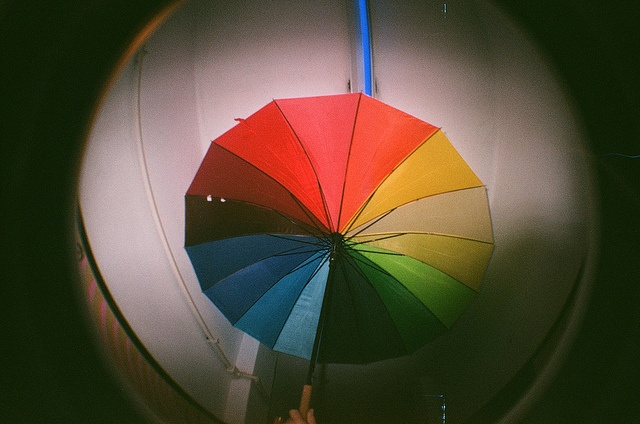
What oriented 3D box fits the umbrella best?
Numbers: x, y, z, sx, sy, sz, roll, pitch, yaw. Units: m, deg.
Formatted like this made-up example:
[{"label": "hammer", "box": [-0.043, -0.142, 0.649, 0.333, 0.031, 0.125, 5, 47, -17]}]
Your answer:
[{"label": "umbrella", "box": [0.253, 0.063, 4.894, 2.217, 2.266, 2.294, 3, -73, 7]}]
